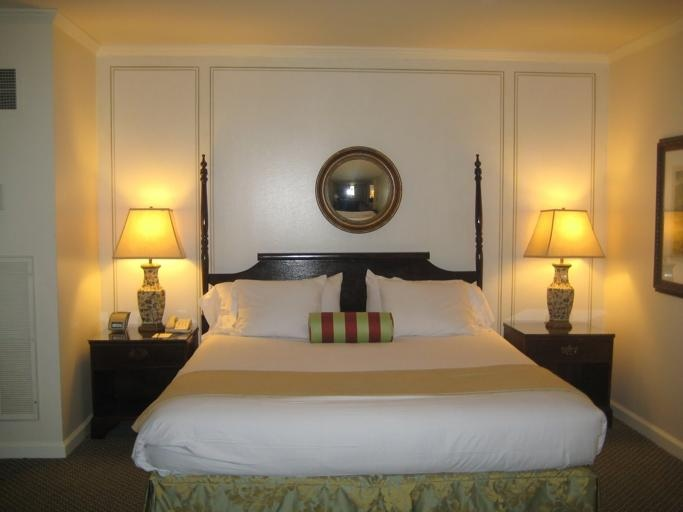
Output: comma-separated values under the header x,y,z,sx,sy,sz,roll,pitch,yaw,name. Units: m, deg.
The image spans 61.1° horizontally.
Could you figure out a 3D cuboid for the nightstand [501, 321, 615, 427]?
x,y,z,sx,sy,sz,roll,pitch,yaw,name
1.850,1.092,5.342,0.874,0.990,0.833,0,3,1,nightstand
